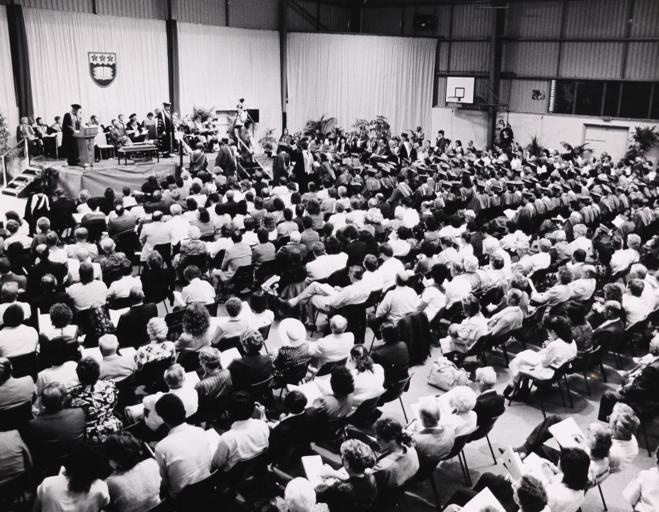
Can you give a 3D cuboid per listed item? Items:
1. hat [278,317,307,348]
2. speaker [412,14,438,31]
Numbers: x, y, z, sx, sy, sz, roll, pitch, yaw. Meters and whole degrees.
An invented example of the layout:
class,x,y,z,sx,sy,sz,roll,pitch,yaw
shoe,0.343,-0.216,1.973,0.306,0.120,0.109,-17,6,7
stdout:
class,x,y,z,sx,sy,sz,roll,pitch,yaw
hat,-0.503,0.993,6.649,0.097,0.400,0.392,-12,29,50
speaker,5.193,-12.565,28.014,1.147,0.979,0.335,4,10,9
